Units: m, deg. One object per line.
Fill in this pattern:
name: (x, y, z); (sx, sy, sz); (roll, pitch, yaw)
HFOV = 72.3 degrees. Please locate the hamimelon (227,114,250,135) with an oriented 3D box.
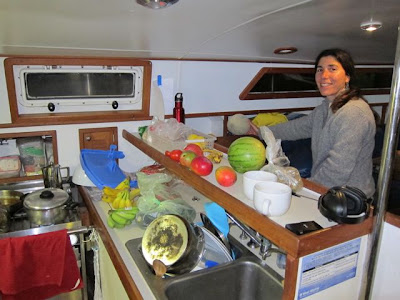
hamimelon: (0.239, -0.163, 1.768); (0.135, 0.142, 0.179); (-5, 13, -3)

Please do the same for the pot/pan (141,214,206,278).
pot/pan: (-0.110, 0.412, 1.244); (0.228, 0.101, 0.279); (25, 66, 21)

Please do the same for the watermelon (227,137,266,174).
watermelon: (0.188, 0.041, 1.260); (0.159, 0.162, 0.184); (4, -14, -10)

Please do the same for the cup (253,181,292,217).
cup: (0.246, 0.172, 0.939); (0.125, 0.095, 0.118); (-4, 13, 1)

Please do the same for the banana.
banana: (-0.488, 0.336, 1.679); (0.194, 0.117, 0.275); (-9, 42, -5)

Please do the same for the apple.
apple: (-0.030, 0.060, 1.330); (0.113, 0.121, 0.213); (2, 17, -38)

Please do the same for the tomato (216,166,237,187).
tomato: (0.106, 0.114, 1.146); (0.085, 0.080, 0.050); (-2, 13, 7)

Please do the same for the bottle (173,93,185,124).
bottle: (-0.193, -0.357, 2.348); (0.095, 0.254, 0.133); (-1, 13, 14)

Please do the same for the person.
person: (0.843, -0.172, 1.917); (0.511, 1.003, 0.904); (-6, 13, -10)

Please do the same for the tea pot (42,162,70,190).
tea pot: (-1.149, 0.204, 2.164); (0.245, 0.238, 0.149); (0, 8, -31)

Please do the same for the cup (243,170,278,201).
cup: (0.222, 0.127, 1.043); (0.100, 0.073, 0.112); (0, 7, 3)
